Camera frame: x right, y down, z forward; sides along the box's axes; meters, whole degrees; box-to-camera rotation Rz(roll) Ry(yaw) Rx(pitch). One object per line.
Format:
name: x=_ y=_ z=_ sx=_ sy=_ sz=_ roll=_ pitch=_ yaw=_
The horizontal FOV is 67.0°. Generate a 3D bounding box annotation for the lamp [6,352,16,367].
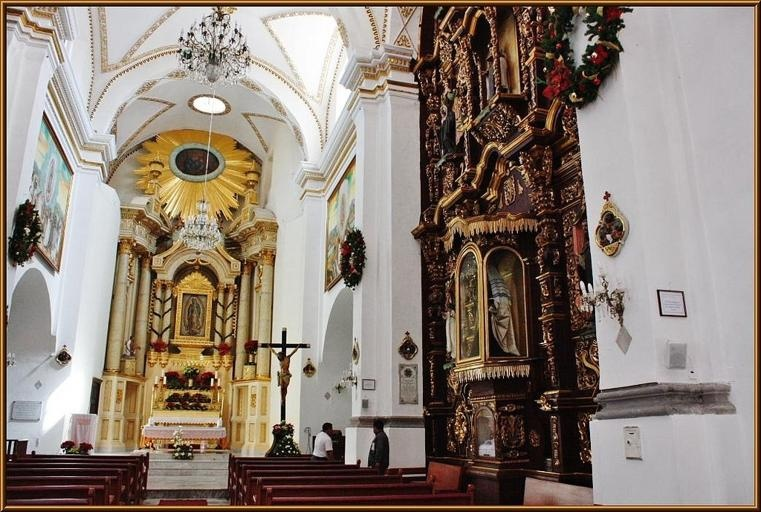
lamp: x=-7.919 y=2.209 z=12.349 sx=0.096 sy=0.292 sz=0.519 roll=7 pitch=-21 yaw=-22

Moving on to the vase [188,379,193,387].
vase: x=-6.212 y=4.143 z=18.845 sx=0.169 sy=0.262 sz=0.185 roll=2 pitch=-10 yaw=-10

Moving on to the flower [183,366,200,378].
flower: x=-6.210 y=3.769 z=18.824 sx=0.352 sy=0.246 sz=0.352 roll=18 pitch=-14 yaw=-33

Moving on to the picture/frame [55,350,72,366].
picture/frame: x=-7.118 y=2.266 z=12.886 sx=0.292 sy=0.280 sz=0.427 roll=10 pitch=-22 yaw=-29

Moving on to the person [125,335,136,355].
person: x=-8.017 y=2.863 z=18.475 sx=0.274 sy=0.718 sz=0.651 roll=3 pitch=-20 yaw=-12

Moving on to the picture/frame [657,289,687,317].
picture/frame: x=2.551 y=0.419 z=5.060 sx=0.213 sy=0.205 sz=0.021 roll=5 pitch=-16 yaw=-10
